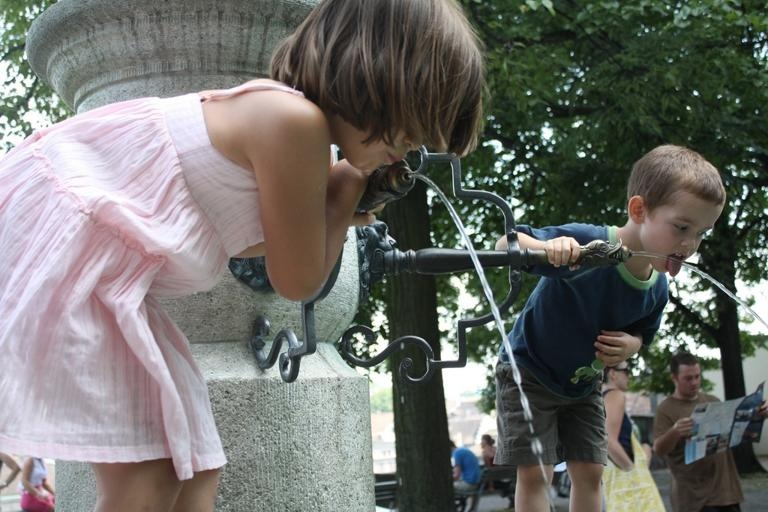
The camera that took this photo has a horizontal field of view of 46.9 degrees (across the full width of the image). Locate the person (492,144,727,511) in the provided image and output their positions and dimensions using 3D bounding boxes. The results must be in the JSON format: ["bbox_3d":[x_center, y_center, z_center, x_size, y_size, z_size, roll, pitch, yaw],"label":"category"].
[{"bbox_3d":[0.990,0.320,3.918,1.037,1.130,0.780,-3,-2,6],"label":"person"}]
